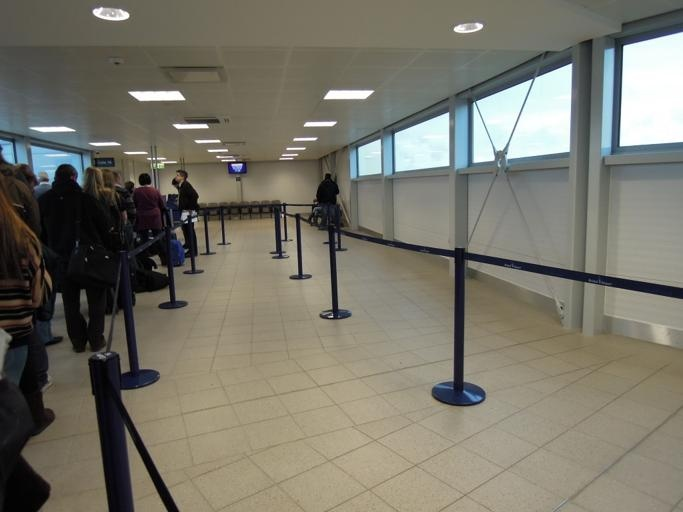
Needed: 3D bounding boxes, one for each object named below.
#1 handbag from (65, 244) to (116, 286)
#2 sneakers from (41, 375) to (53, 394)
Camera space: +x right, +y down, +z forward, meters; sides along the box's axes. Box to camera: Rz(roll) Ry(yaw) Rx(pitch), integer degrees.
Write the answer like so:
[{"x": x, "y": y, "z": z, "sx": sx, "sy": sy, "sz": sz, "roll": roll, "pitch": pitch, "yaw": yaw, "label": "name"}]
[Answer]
[{"x": -2.373, "y": 0.086, "z": 4.394, "sx": 0.196, "sy": 0.293, "sz": 0.306, "roll": -16, "pitch": -24, "yaw": 35, "label": "handbag"}, {"x": -2.545, "y": 1.068, "z": 4.033, "sx": 0.068, "sy": 0.134, "sz": 0.315, "roll": -10, "pitch": 13, "yaw": -29, "label": "sneakers"}]
